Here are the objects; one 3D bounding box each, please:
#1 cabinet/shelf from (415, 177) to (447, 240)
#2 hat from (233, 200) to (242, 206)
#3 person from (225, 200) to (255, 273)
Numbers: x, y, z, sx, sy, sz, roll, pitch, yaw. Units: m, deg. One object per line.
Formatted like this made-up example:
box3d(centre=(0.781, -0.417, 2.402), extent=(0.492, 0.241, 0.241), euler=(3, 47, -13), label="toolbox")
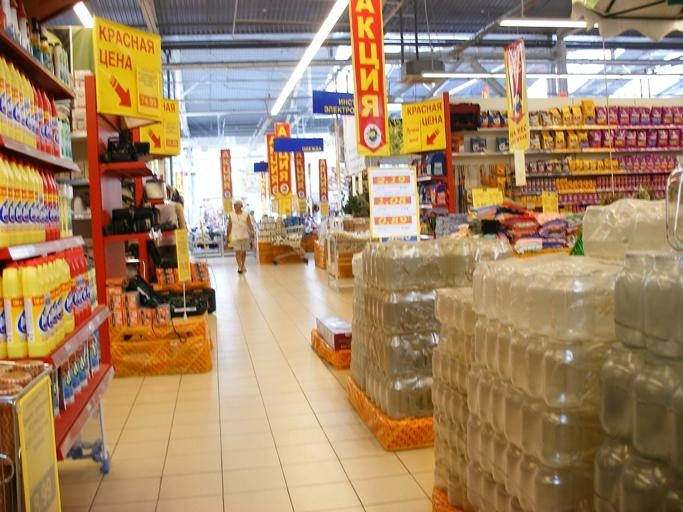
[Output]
box3d(centre=(1.356, -0.736, 8.342), extent=(0.240, 0.961, 0.880), euler=(-1, 1, -4), label="cabinet/shelf")
box3d(centre=(-2.510, -1.286, 13.346), extent=(0.103, 0.181, 0.122), euler=(-2, 11, 5), label="hat")
box3d(centre=(-2.537, -0.523, 13.940), extent=(0.608, 1.807, 1.835), euler=(-2, 5, -10), label="person")
